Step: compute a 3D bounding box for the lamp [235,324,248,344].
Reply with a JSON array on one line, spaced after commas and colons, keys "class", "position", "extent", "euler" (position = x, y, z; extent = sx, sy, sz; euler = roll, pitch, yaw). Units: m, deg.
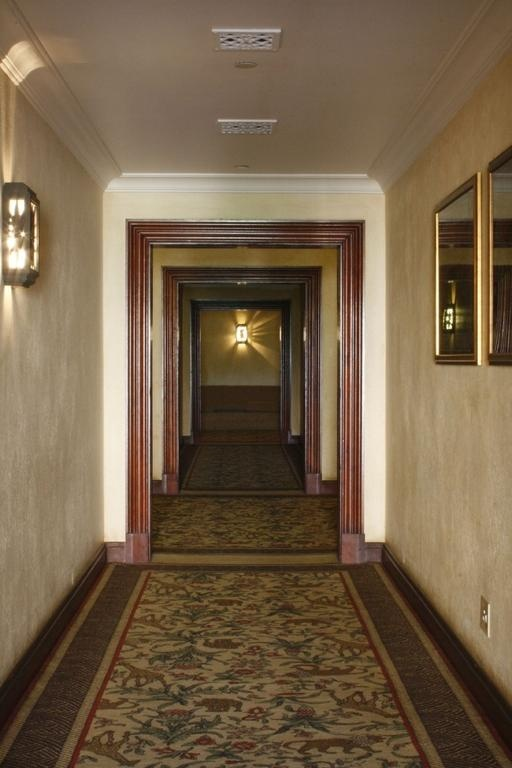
[{"class": "lamp", "position": [-0.372, -1.332, 13.861], "extent": [0.295, 0.508, 0.293], "euler": [0, -4, 0]}]

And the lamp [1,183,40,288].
[{"class": "lamp", "position": [-0.900, -0.564, 2.034], "extent": [0.094, 0.391, 0.242], "euler": [1, -4, -14]}]
